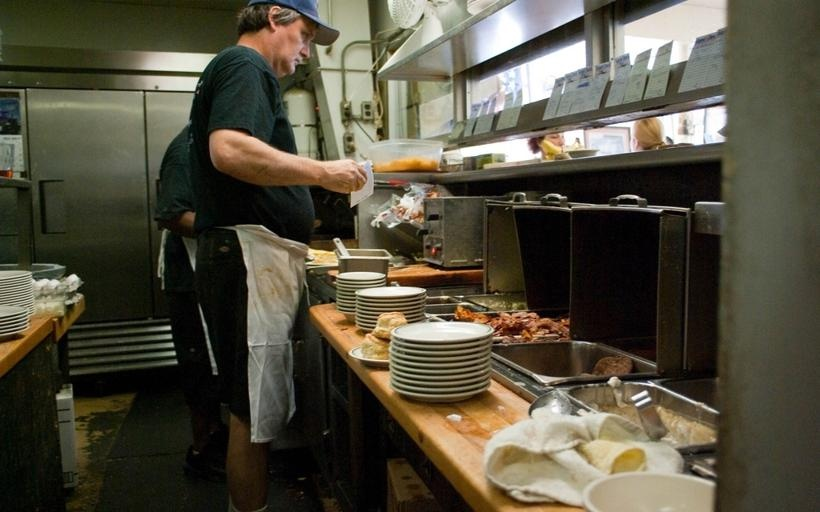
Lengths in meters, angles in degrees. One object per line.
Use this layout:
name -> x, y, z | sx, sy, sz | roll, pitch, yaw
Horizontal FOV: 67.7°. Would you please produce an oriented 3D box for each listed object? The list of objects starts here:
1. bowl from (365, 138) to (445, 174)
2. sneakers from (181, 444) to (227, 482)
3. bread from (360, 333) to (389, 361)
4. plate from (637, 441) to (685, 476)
bowl -> -0.037, -0.578, 3.573 | 0.301, 0.093, 0.277 | -2, 0, 0
sneakers -> -1.190, 1.232, 3.629 | 0.353, 0.135, 0.141 | 1, -6, 13
bread -> -0.115, 0.294, 1.970 | 0.082, 0.043, 0.074 | 7, -2, 2
plate -> 0.562, 0.445, 1.354 | 0.073, 0.008, 0.072 | 3, 13, 23
